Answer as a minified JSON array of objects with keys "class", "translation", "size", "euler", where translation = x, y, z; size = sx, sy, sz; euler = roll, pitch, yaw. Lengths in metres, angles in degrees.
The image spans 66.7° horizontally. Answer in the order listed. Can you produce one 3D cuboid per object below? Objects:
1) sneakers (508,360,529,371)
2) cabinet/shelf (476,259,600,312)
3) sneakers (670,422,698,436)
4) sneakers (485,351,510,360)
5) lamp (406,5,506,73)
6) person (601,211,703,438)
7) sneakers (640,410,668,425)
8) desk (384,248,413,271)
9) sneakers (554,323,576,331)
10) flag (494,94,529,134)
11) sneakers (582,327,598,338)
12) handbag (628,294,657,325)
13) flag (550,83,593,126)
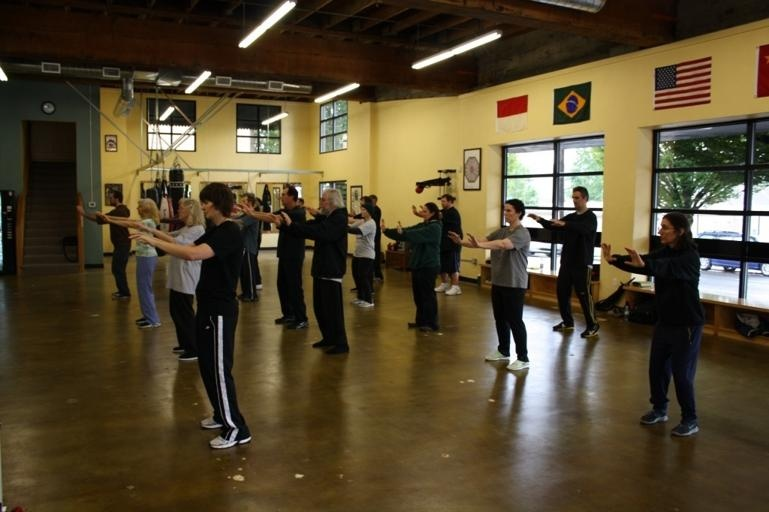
[{"class":"sneakers","translation":[1.745,1.551,7.649],"size":[0.257,0.088,0.125],"euler":[1,-3,-26]},{"class":"cabinet/shelf","translation":[3.018,0.617,12.228],"size":[1.966,0.450,0.481],"euler":[16,11,15]},{"class":"sneakers","translation":[3.052,1.882,6.005],"size":[0.305,0.110,0.110],"euler":[-4,4,-14]},{"class":"sneakers","translation":[1.520,1.487,7.984],"size":[0.349,0.125,0.126],"euler":[2,-1,0]},{"class":"lamp","translation":[1.325,-3.836,10.761],"size":[0.365,0.414,2.051],"euler":[-5,12,-30]},{"class":"person","translation":[2.876,0.760,6.016],"size":[0.961,2.290,0.674],"euler":[1,11,-1]},{"class":"sneakers","translation":[2.841,1.827,6.226],"size":[0.282,0.107,0.131],"euler":[-1,1,-7]},{"class":"desk","translation":[0.367,0.270,16.178],"size":[0.576,0.457,1.014],"euler":[-4,9,-25]},{"class":"sneakers","translation":[2.914,1.278,9.498],"size":[0.335,0.120,0.141],"euler":[1,4,7]},{"class":"flag","translation":[2.754,-3.037,12.646],"size":[0.033,0.739,0.976],"euler":[-5,7,-29]},{"class":"sneakers","translation":[3.228,1.323,9.152],"size":[0.359,0.133,0.123],"euler":[-7,0,-29]},{"class":"handbag","translation":[4.353,1.068,9.998],"size":[0.519,0.156,0.504],"euler":[-7,22,40]},{"class":"flag","translation":[3.652,-2.951,11.410],"size":[1.014,0.751,0.047],"euler":[-15,26,-25]}]
